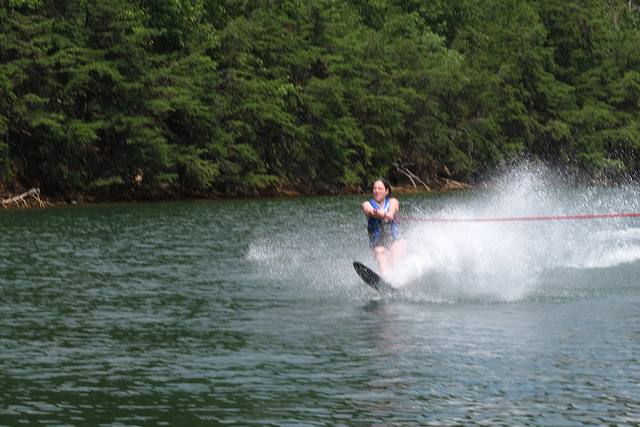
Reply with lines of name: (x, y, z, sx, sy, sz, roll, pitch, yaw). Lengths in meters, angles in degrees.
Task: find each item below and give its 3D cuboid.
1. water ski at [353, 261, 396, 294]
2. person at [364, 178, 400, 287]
water ski: (1.452, 1.811, 30.825, 1.493, 0.333, 0.214, 40, 21, 4)
person: (2.006, 0.511, 31.162, 0.901, 3.099, 1.040, -8, 9, -4)
